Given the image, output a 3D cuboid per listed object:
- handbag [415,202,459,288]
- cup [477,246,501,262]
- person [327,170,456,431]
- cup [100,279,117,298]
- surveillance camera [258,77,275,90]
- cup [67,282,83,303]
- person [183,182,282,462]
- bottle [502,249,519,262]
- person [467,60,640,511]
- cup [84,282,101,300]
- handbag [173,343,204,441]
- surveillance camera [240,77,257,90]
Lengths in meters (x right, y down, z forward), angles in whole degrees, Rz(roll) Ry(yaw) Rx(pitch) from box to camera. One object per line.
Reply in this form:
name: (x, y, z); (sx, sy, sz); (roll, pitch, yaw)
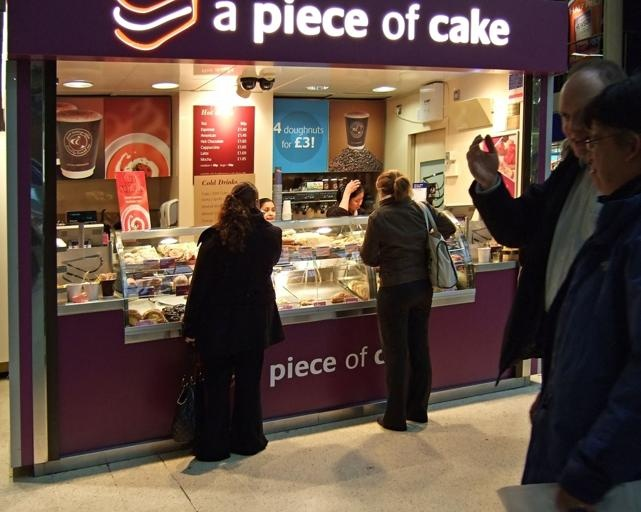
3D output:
handbag: (0.855, -0.091, 4.068); (0.262, 0.595, 0.322); (-1, 7, -8)
cup: (1.476, -0.011, 4.832); (0.136, 0.154, 0.205); (0, -3, -30)
person: (0.616, 0.310, 4.108); (0.644, 1.862, 0.410); (0, 7, -1)
cup: (-1.391, 0.202, 3.609); (0.094, 0.096, 0.104); (-3, 6, -25)
surveillance camera: (-0.579, -1.746, 5.672); (0.138, 0.111, 0.143); (3, 8, 27)
cup: (-1.577, 0.229, 3.508); (0.101, 0.106, 0.092); (4, -9, -20)
person: (-0.570, 0.423, 3.621); (0.654, 1.776, 0.296); (-2, 7, -10)
bottle: (1.646, -0.007, 4.794); (0.088, 0.091, 0.090); (-4, 8, -28)
person: (0.689, 0.035, 1.672); (0.362, 1.217, 0.749); (-2, 8, -13)
cup: (-1.467, 0.221, 3.536); (0.089, 0.105, 0.100); (0, 4, -22)
handbag: (-0.889, 0.931, 3.656); (0.195, 0.741, 0.340); (-2, 8, -13)
surveillance camera: (-0.743, -1.754, 5.641); (0.192, 0.101, 0.303); (-1, 8, -8)
